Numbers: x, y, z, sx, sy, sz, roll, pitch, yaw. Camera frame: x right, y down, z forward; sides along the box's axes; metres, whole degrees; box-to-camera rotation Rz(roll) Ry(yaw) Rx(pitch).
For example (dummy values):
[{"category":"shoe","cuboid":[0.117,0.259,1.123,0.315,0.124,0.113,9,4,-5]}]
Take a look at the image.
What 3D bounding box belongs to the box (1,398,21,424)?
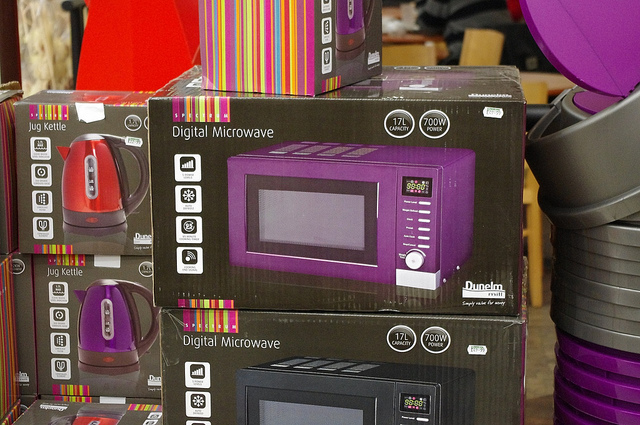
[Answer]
[{"category":"box","cuboid":[-0.906,0.590,2.142,0.013,0.059,0.045,6,84,0]}]
